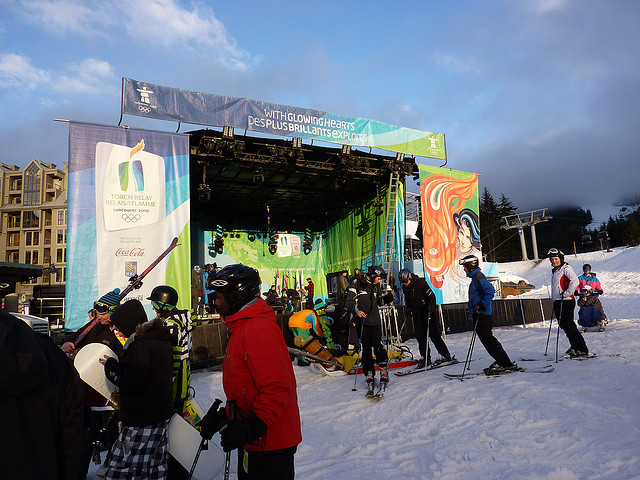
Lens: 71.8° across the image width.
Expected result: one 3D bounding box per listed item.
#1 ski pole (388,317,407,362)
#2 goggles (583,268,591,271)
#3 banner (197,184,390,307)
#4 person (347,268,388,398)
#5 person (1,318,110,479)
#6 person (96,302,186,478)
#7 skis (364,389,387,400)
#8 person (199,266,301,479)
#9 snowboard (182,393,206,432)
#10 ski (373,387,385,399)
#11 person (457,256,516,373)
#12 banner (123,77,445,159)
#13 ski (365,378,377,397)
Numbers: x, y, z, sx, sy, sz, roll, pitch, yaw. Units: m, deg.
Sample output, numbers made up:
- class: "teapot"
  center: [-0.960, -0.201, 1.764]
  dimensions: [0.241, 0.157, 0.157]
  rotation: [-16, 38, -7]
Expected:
- class: "ski pole"
  center: [2.221, 2.883, 12.815]
  dimensions: [0.034, 0.051, 2.568]
  rotation: [-20, 21, 34]
- class: "goggles"
  center: [7.630, 0.853, 12.683]
  dimensions: [0.139, 0.088, 0.245]
  rotation: [-8, 0, 21]
- class: "banner"
  center: [-1.822, 0.610, 25.590]
  dimensions: [7.122, 5.199, 7.502]
  rotation: [0, -4, -18]
- class: "person"
  center: [0.918, 1.696, 8.406]
  dimensions: [0.671, 2.364, 1.364]
  rotation: [-6, -1, 7]
- class: "person"
  center: [-1.804, 1.055, 2.909]
  dimensions: [0.223, 0.922, 0.455]
  rotation: [-7, -1, 26]
- class: "person"
  center: [-2.022, 1.759, 5.090]
  dimensions: [0.967, 1.633, 1.127]
  rotation: [-7, -1, -22]
- class: "skis"
  center: [0.981, 2.715, 7.761]
  dimensions: [0.365, 0.183, 0.133]
  rotation: [26, -34, -31]
- class: "person"
  center: [-0.516, 1.141, 3.629]
  dimensions: [0.631, 1.703, 0.604]
  rotation: [-6, -1, -9]
- class: "snowboard"
  center: [-1.665, 2.219, 5.777]
  dimensions: [0.166, 0.447, 0.246]
  rotation: [-37, -7, 10]
- class: "ski"
  center: [1.044, 2.696, 7.753]
  dimensions: [0.081, 0.199, 0.266]
  rotation: [-7, -32, 22]
- class: "person"
  center: [3.101, 1.377, 8.291]
  dimensions: [0.664, 2.254, 0.994]
  rotation: [-7, -1, 17]
- class: "banner"
  center: [-0.573, -4.520, 16.921]
  dimensions: [12.748, 0.160, 1.593]
  rotation: [4, -32, -18]
- class: "ski"
  center: [0.931, 2.705, 8.056]
  dimensions: [0.137, 0.198, 0.445]
  rotation: [-5, -36, 3]
